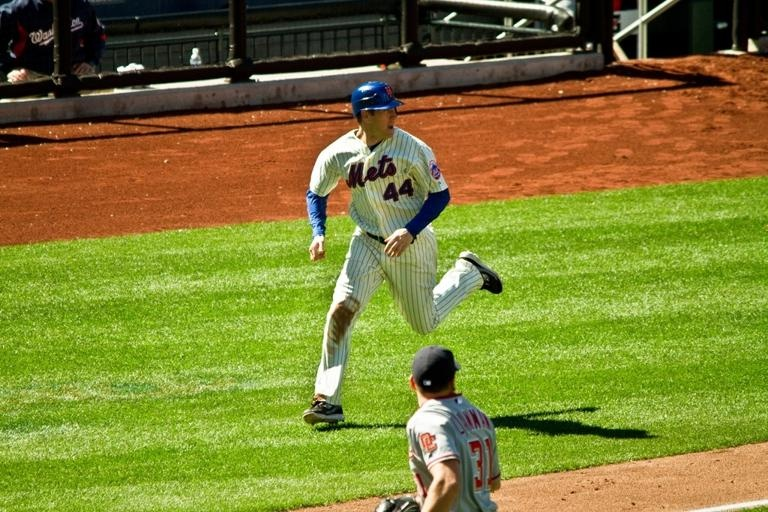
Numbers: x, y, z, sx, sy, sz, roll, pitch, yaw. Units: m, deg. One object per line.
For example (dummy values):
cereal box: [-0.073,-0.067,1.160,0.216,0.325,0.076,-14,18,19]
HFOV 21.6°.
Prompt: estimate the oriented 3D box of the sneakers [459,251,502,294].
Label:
sneakers: [1.092,0.215,22.976,0.187,0.475,0.169,-44,5,-38]

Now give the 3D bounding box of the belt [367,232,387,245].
belt: [-0.078,-0.211,22.043,0.175,0.063,0.127,21,3,2]

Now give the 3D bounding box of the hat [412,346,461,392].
hat: [0.495,1.127,20.064,0.374,0.281,0.480,5,35,13]

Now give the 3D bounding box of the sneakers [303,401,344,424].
sneakers: [-0.678,1.722,21.996,0.498,0.232,0.198,5,-19,-8]

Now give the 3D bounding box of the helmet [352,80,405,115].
helmet: [-0.101,-1.732,21.965,0.472,0.268,0.341,-2,12,9]
